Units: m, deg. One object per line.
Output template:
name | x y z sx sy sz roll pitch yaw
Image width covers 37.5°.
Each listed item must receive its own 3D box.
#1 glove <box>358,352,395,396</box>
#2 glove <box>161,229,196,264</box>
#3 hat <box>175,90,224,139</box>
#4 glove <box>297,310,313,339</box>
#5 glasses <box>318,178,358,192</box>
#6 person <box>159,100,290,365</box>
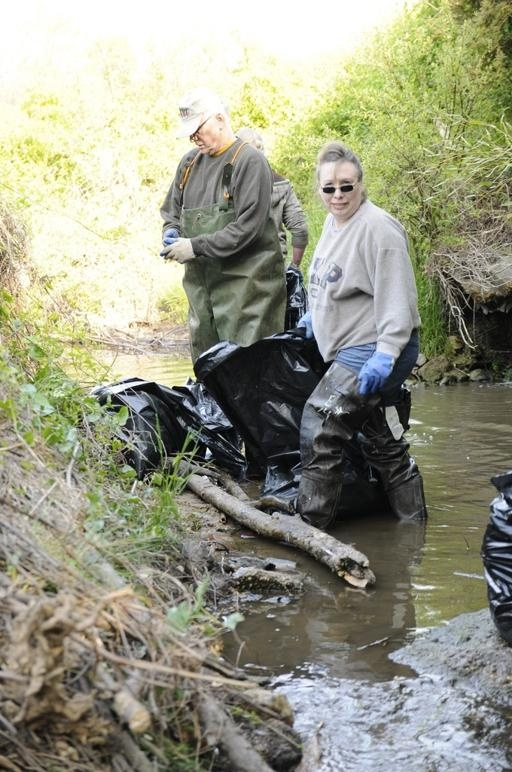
glove | 0.546 -0.060 3.517 0.060 0.203 0.154 19 18 -47
glove | -0.454 -0.807 4.434 0.200 0.173 0.238 -5 34 -14
hat | -0.327 -1.571 4.358 0.315 0.262 0.275 -12 8 -2
glove | 0.291 -0.357 4.416 0.051 0.146 0.131 10 15 -31
glasses | 0.387 -0.940 3.593 0.159 0.058 0.044 -5 11 36
person | -0.204 -0.954 4.587 0.699 1.499 0.684 -14 9 -4
